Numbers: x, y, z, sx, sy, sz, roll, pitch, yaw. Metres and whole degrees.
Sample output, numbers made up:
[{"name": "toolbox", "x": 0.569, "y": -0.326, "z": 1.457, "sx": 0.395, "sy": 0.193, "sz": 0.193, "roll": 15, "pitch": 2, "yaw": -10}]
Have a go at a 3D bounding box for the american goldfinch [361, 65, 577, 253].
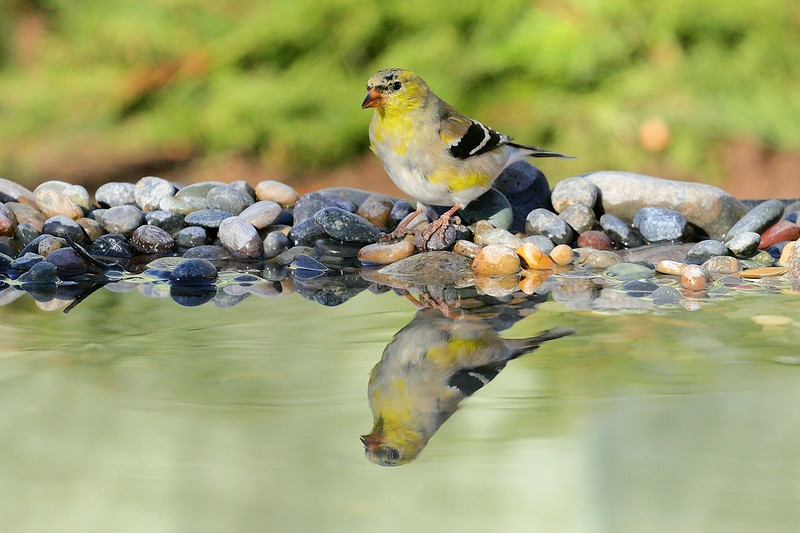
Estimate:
[{"name": "american goldfinch", "x": 0.123, "y": -0.843, "z": 6.181, "sx": 1.787, "sy": 0.676, "sz": 0.933, "roll": -13, "pitch": 103, "yaw": -33}]
